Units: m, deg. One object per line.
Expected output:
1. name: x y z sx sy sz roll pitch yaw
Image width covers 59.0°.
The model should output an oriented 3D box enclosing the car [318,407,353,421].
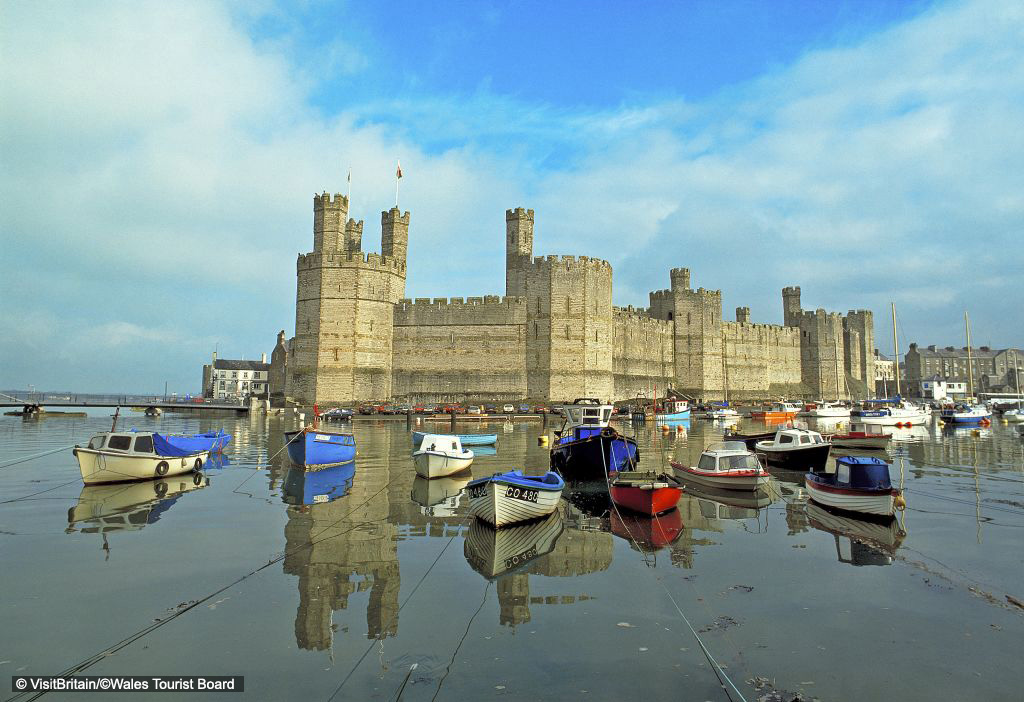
1. car: -12.271 4.333 62.543 1.454 0.690 1.996 0 -6 -5
